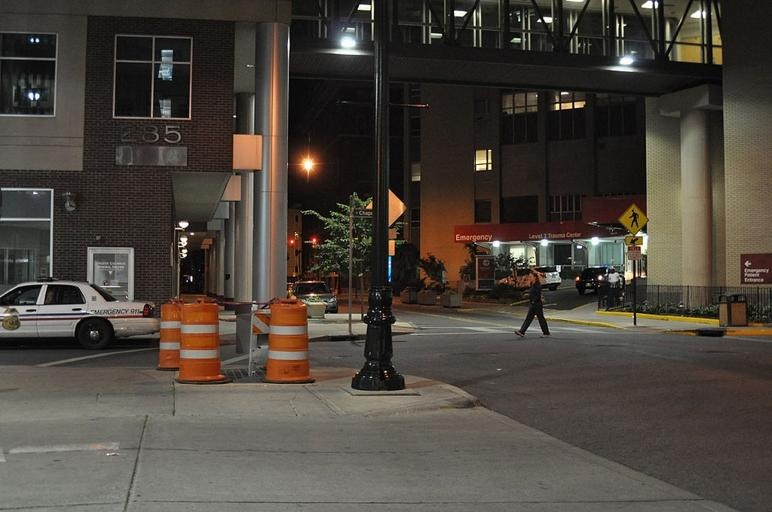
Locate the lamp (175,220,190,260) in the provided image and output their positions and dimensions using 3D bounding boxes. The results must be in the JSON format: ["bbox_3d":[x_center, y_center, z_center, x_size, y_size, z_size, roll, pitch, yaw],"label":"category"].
[{"bbox_3d":[-12.212,-0.972,51.959,0.546,2.146,0.520,2,13,-1],"label":"lamp"}]

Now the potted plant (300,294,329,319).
[{"bbox_3d":[-3.070,2.191,37.254,1.254,1.131,1.592,3,-3,-26],"label":"potted plant"}]
